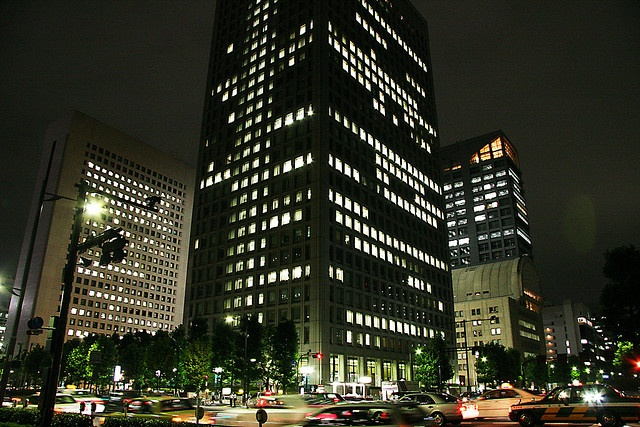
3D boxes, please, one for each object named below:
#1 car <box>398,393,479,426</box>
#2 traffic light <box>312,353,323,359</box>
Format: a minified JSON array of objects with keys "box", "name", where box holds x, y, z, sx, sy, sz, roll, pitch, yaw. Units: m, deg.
[{"box":[14.241,23.366,69.825,9.096,2.489,3.754,-4,-17,18],"name":"car"},{"box":[-0.425,25.823,106.579,0.921,0.670,1.543,11,-19,-36],"name":"traffic light"}]
